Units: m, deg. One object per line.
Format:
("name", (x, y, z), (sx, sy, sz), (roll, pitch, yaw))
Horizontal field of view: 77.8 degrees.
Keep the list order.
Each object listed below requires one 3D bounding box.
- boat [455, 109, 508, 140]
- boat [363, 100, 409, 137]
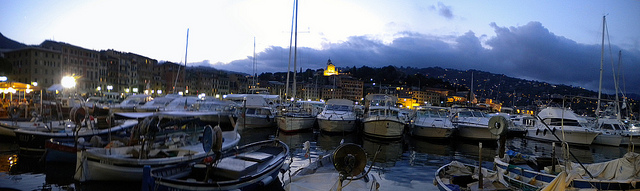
("boat", (68.326, 12.016, 163.933), (16.936, 12.412, 18.815), (2, -2, -20))
("boat", (26.848, 10.679, 167.691), (15.622, 13.378, 4.270), (2, -2, -4))
